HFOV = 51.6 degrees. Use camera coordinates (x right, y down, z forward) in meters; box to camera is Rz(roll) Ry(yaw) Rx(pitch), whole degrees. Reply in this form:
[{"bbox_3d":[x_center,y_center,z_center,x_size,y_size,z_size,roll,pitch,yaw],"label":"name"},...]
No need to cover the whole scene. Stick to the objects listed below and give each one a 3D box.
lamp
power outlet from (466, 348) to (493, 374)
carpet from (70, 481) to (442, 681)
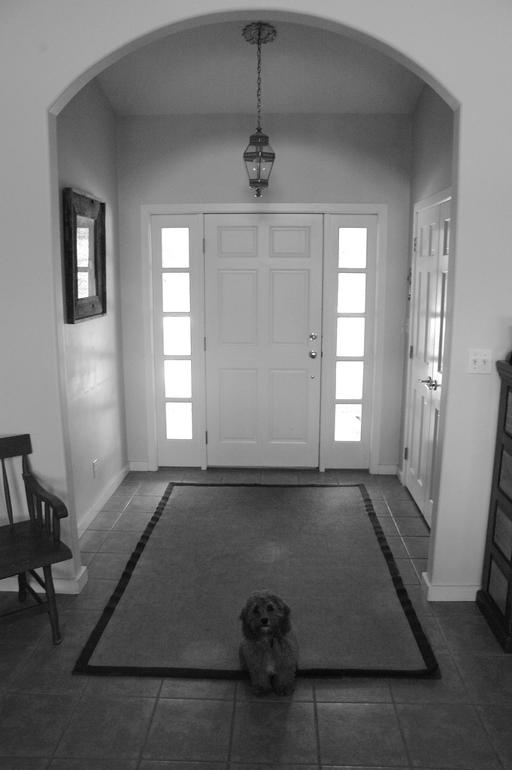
[{"bbox_3d":[0.017,-1.663,3.238,0.200,1.003,0.190,0,-2,3],"label":"lamp"},{"bbox_3d":[0.972,-0.114,2.307,0.086,0.119,0.008,0,3,-1],"label":"power outlet"},{"bbox_3d":[0.024,0.924,2.877,1.506,0.126,1.945,0,7,2],"label":"carpet"}]
